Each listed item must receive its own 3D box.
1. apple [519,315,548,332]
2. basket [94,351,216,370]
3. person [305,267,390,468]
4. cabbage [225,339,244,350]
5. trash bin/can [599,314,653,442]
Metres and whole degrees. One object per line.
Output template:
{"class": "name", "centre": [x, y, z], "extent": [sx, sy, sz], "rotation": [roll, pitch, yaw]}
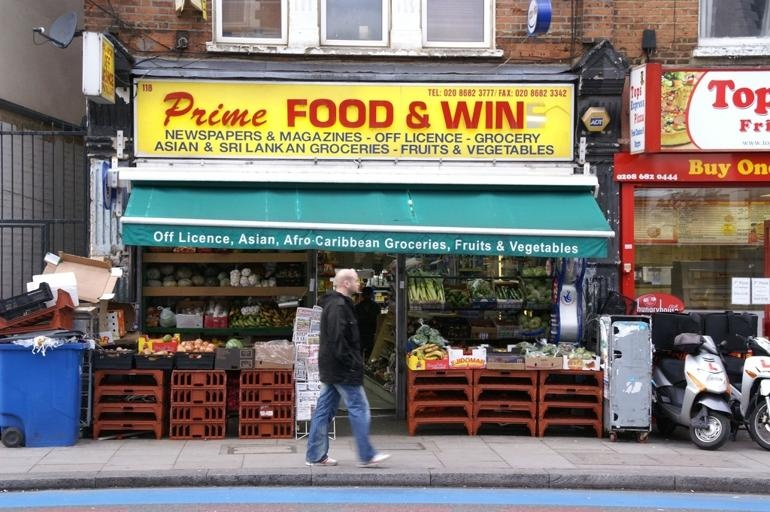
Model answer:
{"class": "apple", "centre": [2.614, 1.197, 20.515], "extent": [0.344, 0.122, 0.322], "rotation": [-3, 15, -10]}
{"class": "basket", "centre": [-3.913, 1.756, 18.813], "extent": [1.340, 0.360, 0.424], "rotation": [2, 3, -6]}
{"class": "person", "centre": [-0.673, 1.717, 17.724], "extent": [1.043, 3.006, 0.558], "rotation": [-2, -1, 31]}
{"class": "cabbage", "centre": [-2.589, 1.493, 19.442], "extent": [0.179, 0.105, 0.188], "rotation": [1, 3, -39]}
{"class": "trash bin/can", "centre": [4.025, 1.992, 19.578], "extent": [0.984, 1.909, 0.935], "rotation": [0, -6, -1]}
